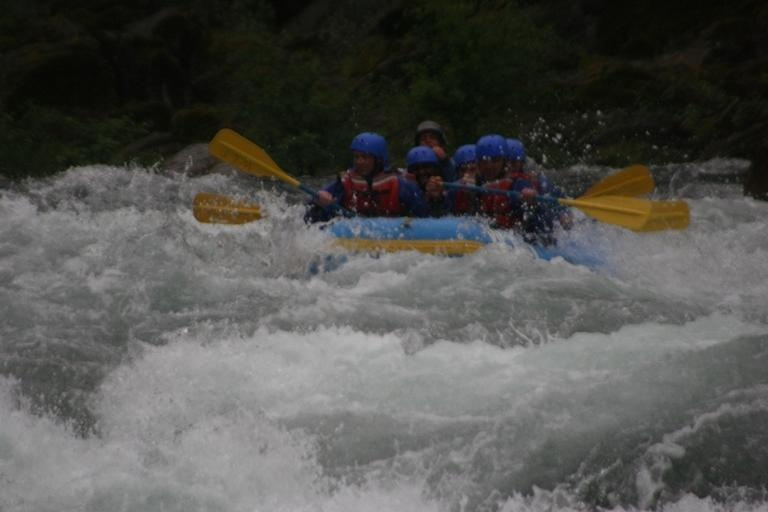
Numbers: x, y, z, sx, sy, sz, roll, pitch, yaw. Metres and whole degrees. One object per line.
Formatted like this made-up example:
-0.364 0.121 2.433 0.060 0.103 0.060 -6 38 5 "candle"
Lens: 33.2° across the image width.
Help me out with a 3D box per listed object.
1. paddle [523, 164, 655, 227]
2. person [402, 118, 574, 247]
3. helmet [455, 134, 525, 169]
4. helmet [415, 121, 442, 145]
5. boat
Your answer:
2.244 -0.596 14.476 0.251 0.558 1.845 0 0 -36 "paddle"
1.226 -0.861 15.115 1.646 0.723 2.352 -24 37 -30 "person"
1.301 -1.220 14.568 0.549 0.204 0.394 -6 0 -38 "helmet"
0.559 -1.518 15.504 0.248 0.236 0.313 -9 -35 23 "helmet"
0.540 -0.215 13.526 1.901 0.299 1.079 5 1 2 "boat"
